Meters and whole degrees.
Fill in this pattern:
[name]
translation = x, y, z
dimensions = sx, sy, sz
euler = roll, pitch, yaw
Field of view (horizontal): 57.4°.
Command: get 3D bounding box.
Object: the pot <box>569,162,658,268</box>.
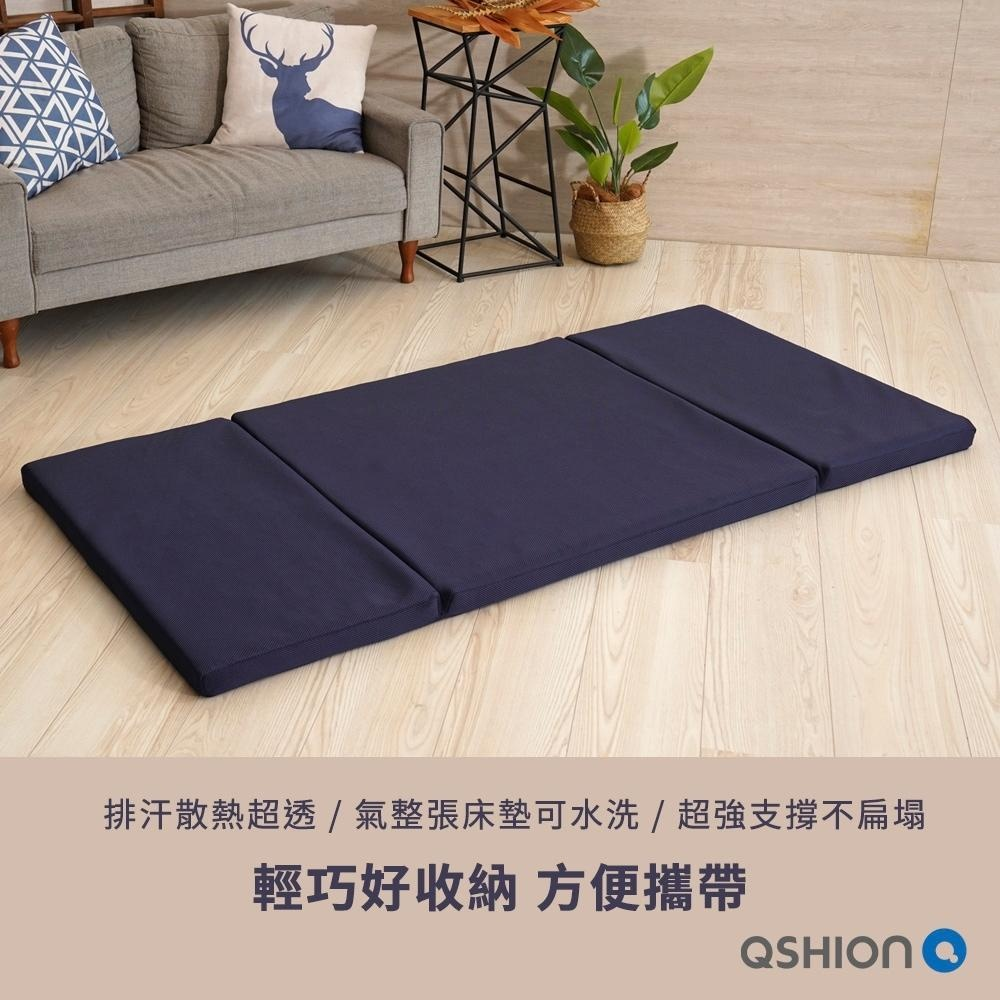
[pot]
translation = 0.419, -1.134, 3.609
dimensions = 0.351, 0.317, 0.367
euler = -2, 33, 1

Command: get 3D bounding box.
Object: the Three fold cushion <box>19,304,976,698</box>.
[Three fold cushion]
translation = 0.001, -0.120, 2.162
dimensions = 1.903, 0.326, 0.937
euler = -22, 47, -22

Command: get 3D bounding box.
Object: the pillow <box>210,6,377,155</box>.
[pillow]
translation = -0.742, -1.453, 3.204
dimensions = 0.749, 0.539, 0.231
euler = 4, 8, -7
